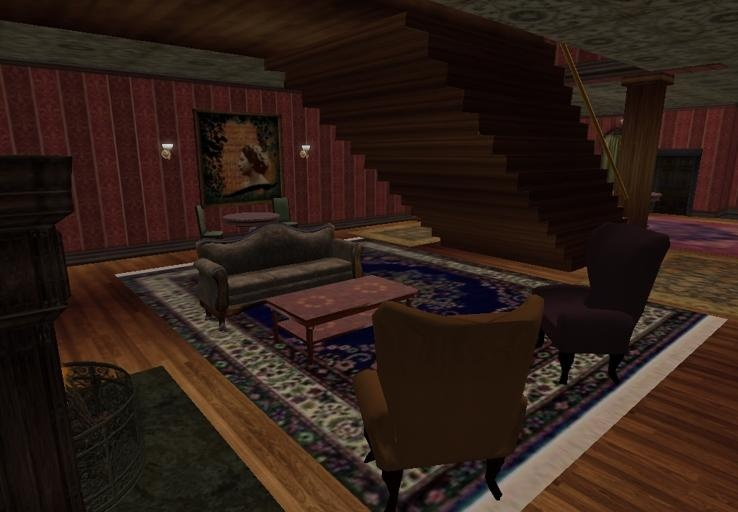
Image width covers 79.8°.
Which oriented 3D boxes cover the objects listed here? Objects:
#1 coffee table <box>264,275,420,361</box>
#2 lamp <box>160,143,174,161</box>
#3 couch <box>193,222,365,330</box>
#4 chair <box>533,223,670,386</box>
[{"bbox_3d":[-0.465,0.428,4.535,1.486,0.379,0.912,-11,20,-37],"label":"coffee table"},{"bbox_3d":[-3.568,-1.875,7.880,0.261,0.293,0.158,-13,17,-28],"label":"lamp"},{"bbox_3d":[-1.043,0.264,5.151,1.905,0.660,0.494,-8,18,-30],"label":"couch"},{"bbox_3d":[2.041,0.398,3.951,0.988,1.333,0.806,-3,16,7],"label":"chair"}]
